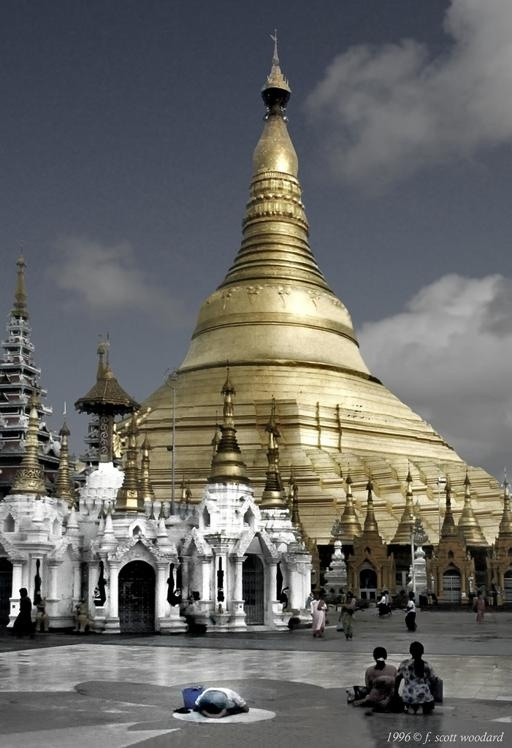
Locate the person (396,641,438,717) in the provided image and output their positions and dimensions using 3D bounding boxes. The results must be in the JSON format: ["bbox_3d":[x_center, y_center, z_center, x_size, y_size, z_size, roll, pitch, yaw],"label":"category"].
[{"bbox_3d":[1.633,3.130,11.807,0.425,0.700,0.561,-2,-14,8],"label":"person"}]

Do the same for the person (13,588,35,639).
[{"bbox_3d":[-4.459,4.554,21.927,0.368,0.940,1.374,3,-14,-11],"label":"person"}]
